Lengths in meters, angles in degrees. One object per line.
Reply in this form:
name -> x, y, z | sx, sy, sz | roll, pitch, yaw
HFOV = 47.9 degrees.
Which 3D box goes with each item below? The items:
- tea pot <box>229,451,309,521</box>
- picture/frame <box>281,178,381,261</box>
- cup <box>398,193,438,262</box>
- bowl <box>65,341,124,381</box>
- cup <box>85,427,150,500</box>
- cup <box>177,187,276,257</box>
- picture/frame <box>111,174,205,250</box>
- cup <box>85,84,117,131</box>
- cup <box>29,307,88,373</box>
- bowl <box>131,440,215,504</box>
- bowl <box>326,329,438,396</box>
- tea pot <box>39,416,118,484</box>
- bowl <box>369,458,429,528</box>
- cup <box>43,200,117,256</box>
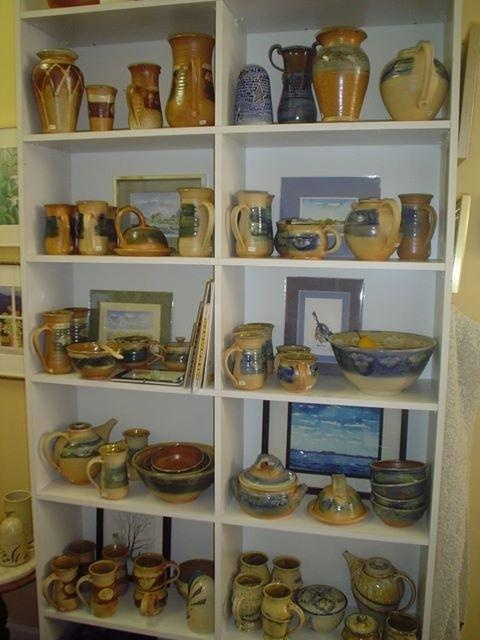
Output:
tea pot -> 0.075, 0.450, 1.493 | 0.214, 0.146, 0.171 | 0, 7, 4
picture/frame -> 0.249, -0.265, 1.421 | 0.271, 0.219, 0.017 | 3, 12, 16
cup -> 0.434, -0.230, 1.323 | 0.087, 0.167, 0.151 | 2, 8, 17
bowl -> -0.418, 0.116, 1.586 | 0.123, 0.074, 0.122 | 3, -3, 0
cup -> -0.386, 0.421, 1.669 | 0.115, 0.192, 0.196 | 18, 22, 33
cup -> -0.032, -0.247, 1.379 | 0.211, 0.204, 0.128 | -12, 18, -35
picture/frame -> -0.232, -0.320, 1.588 | 0.276, 0.229, 0.020 | 4, 14, 15
cup -> -0.390, -0.594, 1.515 | 0.094, 0.116, 0.089 | 2, 14, 0
cup -> -0.533, 0.056, 1.626 | 0.126, 0.197, 0.204 | 9, 13, 23
bowl -> -0.175, 0.420, 1.541 | 0.173, 0.080, 0.172 | 1, 7, 0
bowl -> 0.365, 0.113, 1.401 | 0.263, 0.148, 0.285 | 0, 8, 0
tea pot -> -0.498, 0.412, 1.708 | 0.221, 0.170, 0.162 | -6, 8, -29
bowl -> 0.418, 0.454, 1.459 | 0.152, 0.146, 0.171 | -1, -2, 8
cup -> -0.475, -0.269, 1.588 | 0.220, 0.152, 0.210 | 0, 8, 0
